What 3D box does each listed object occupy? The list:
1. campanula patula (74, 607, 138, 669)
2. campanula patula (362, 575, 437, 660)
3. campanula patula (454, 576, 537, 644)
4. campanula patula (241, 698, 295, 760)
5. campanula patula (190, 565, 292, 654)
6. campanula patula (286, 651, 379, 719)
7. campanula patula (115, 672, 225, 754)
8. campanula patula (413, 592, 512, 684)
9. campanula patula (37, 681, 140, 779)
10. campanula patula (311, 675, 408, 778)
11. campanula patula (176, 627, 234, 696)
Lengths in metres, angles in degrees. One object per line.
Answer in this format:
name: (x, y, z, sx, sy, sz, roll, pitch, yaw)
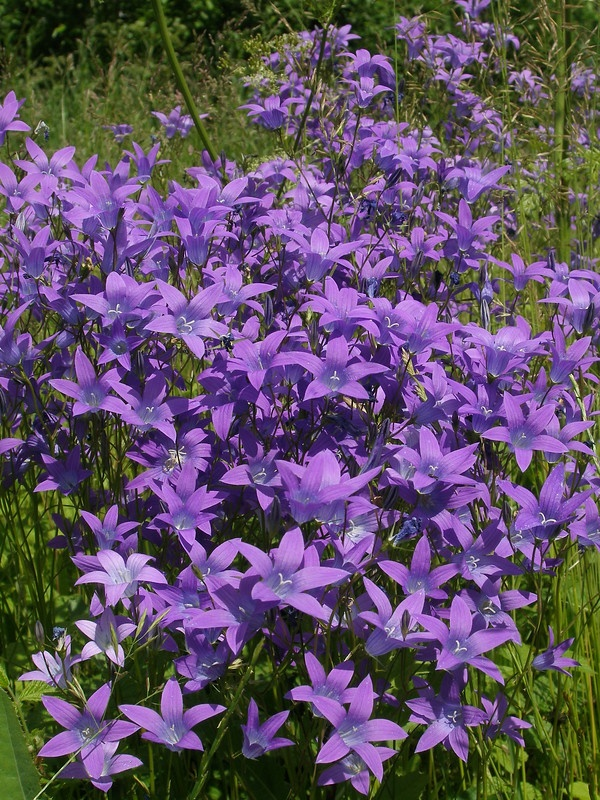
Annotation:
campanula patula: (-0.320, 0.380, 1.559, 0.082, 0.119, 0.042, -6, -2, -4)
campanula patula: (0.150, 0.352, 1.553, 0.104, 0.158, 0.190, 1, 12, 5)
campanula patula: (0.345, 0.408, 1.738, 0.107, 0.120, 0.042, 7, -31, -26)
campanula patula: (-0.072, 0.521, 1.516, 0.057, 0.054, 0.082, -6, 15, 17)
campanula patula: (-0.097, 0.297, 1.469, 0.100, 0.051, 0.135, -11, -8, -27)
campanula patula: (0.042, 0.439, 1.475, 0.115, 0.072, 0.137, -8, -1, -8)
campanula patula: (-0.203, 0.509, 1.508, 0.146, 0.105, 0.209, -30, 2, -6)
campanula patula: (0.262, 0.390, 1.554, 0.144, 0.151, 0.054, 33, -27, -9)
campanula patula: (-0.326, 0.531, 1.516, 0.174, 0.090, 0.208, 4, -1, 16)
campanula patula: (0.087, 0.481, 1.411, 0.134, 0.129, 0.079, 1, 11, 7)
campanula patula: (-0.157, 0.424, 1.587, 0.083, 0.110, 0.051, 14, -20, 18)
